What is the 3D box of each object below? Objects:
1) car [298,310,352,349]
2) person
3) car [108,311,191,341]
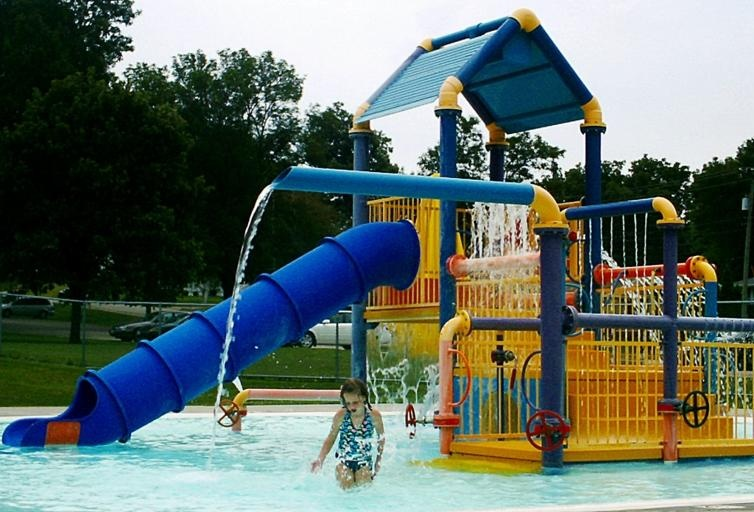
[{"bbox_3d":[-1.629,2.681,29.544,2.569,1.406,1.608,2,-6,2],"label":"car"},{"bbox_3d":[-0.312,2.201,10.493,0.790,1.292,0.326,2,-6,-5],"label":"person"},{"bbox_3d":[-5.921,1.828,21.955,2.085,0.716,1.001,1,-5,-21],"label":"car"}]
